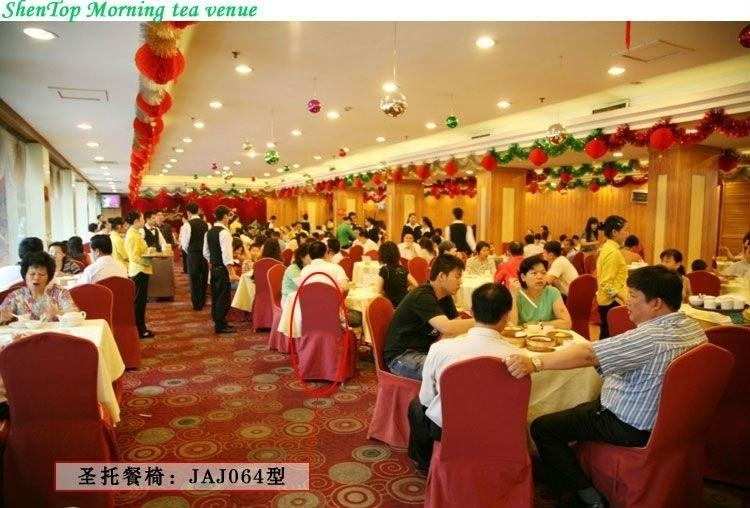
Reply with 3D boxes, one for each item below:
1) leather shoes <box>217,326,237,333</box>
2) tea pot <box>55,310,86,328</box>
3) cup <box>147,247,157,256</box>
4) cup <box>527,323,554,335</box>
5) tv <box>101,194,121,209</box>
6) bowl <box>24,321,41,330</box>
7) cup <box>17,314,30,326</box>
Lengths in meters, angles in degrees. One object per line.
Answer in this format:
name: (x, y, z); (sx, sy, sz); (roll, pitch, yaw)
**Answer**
leather shoes: (-2.096, 1.059, 7.333); (0.260, 0.107, 0.086); (-4, 7, -28)
tea pot: (-2.538, 0.543, 4.377); (0.137, 0.086, 0.160); (-3, -10, 18)
cup: (-3.710, -0.048, 8.639); (0.182, 0.163, 0.178); (0, 7, 0)
cup: (1.384, 0.633, 4.390); (0.164, 0.060, 0.118); (-4, 5, -29)
tv: (-13.468, -2.688, 26.445); (0.763, 0.621, 0.399); (3, -14, -29)
bowl: (-2.746, 0.569, 4.177); (0.100, 0.059, 0.106); (-3, 2, 0)
cup: (-2.833, 0.524, 4.201); (0.088, 0.075, 0.094); (0, -7, 0)
